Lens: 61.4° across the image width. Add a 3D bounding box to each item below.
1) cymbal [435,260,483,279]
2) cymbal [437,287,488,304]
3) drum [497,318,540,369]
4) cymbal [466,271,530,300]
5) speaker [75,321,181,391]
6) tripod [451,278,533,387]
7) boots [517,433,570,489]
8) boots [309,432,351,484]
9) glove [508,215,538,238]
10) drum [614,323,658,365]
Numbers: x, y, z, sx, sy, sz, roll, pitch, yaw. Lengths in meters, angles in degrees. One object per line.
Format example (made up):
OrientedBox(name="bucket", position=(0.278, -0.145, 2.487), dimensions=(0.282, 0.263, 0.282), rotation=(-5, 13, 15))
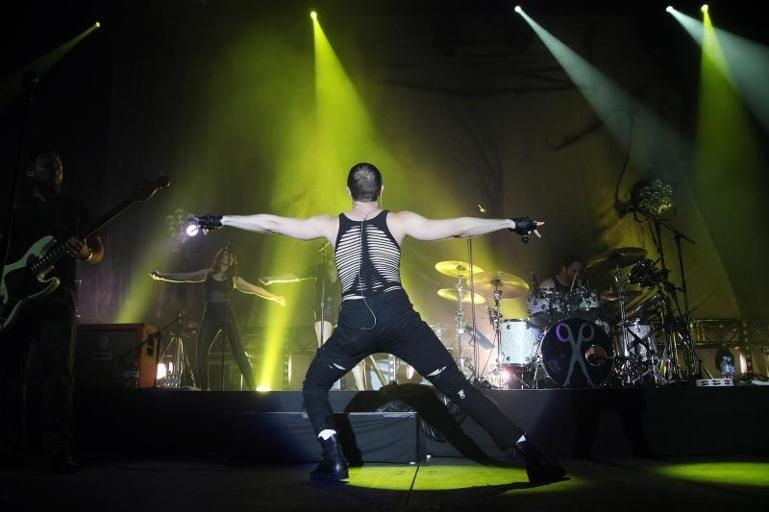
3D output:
OrientedBox(name="cymbal", position=(1.203, 0.221, 10.973), dimensions=(0.447, 0.154, 0.448), rotation=(7, -4, 20))
OrientedBox(name="cymbal", position=(1.273, 0.699, 11.373), dimensions=(0.470, 0.105, 0.459), rotation=(27, -27, -29))
OrientedBox(name="drum", position=(2.145, 1.352, 10.008), dimensions=(0.713, 0.541, 0.643), rotation=(-3, -18, 18))
OrientedBox(name="cymbal", position=(1.936, 0.479, 10.801), dimensions=(0.608, 0.154, 0.607), rotation=(-3, -22, 18))
OrientedBox(name="speaker", position=(-3.584, 1.382, 9.012), dimensions=(1.437, 1.167, 0.855), rotation=(1, -8, -11))
OrientedBox(name="tripod", position=(1.708, 1.209, 10.563), dimensions=(1.602, 1.515, 1.525), rotation=(-13, -18, 40))
OrientedBox(name="boots", position=(1.622, 2.137, 6.724), dimensions=(0.189, 0.528, 0.408), rotation=(-50, -9, 22))
OrientedBox(name="boots", position=(-0.601, 2.138, 6.978), dimensions=(0.279, 0.519, 0.549), rotation=(0, -12, -43))
OrientedBox(name="glove", position=(1.526, -0.315, 7.024), dimensions=(0.329, 0.136, 0.317), rotation=(0, 5, 13))
OrientedBox(name="drum", position=(3.803, 1.340, 9.888), dimensions=(0.546, 0.531, 0.566), rotation=(-14, -22, 36))
